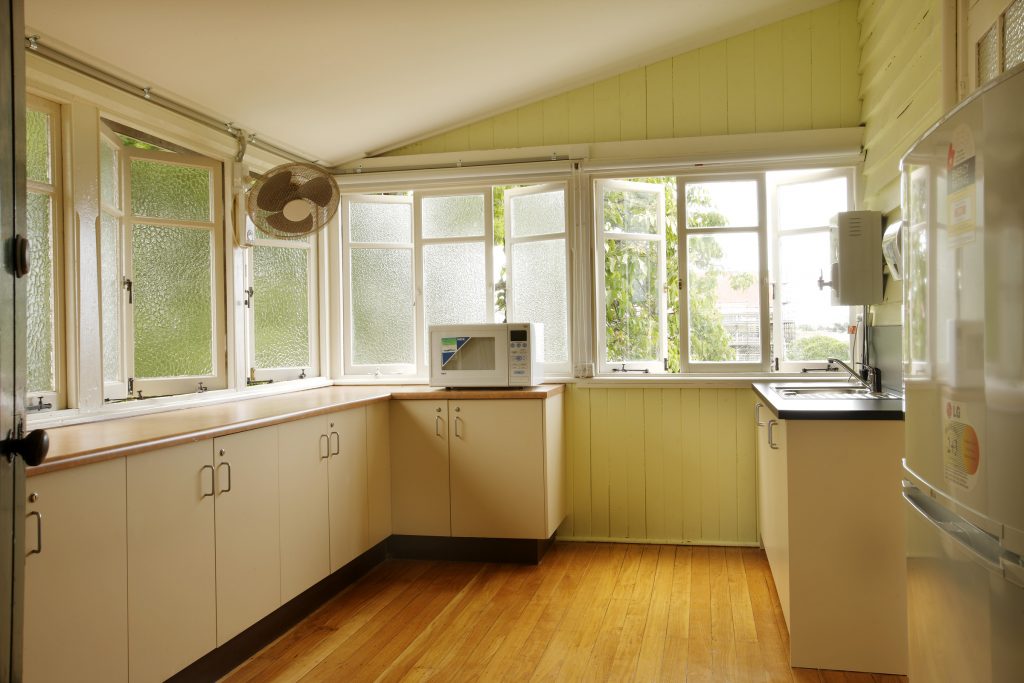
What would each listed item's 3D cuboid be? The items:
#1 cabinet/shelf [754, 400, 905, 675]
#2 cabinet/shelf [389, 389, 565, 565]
[{"bbox_3d":[1.439,0.874,2.992,0.385,0.689,1.237,-1,1,11],"label":"cabinet/shelf"},{"bbox_3d":[-0.126,0.817,4.725,1.469,1.403,0.957,-2,-4,10],"label":"cabinet/shelf"}]
